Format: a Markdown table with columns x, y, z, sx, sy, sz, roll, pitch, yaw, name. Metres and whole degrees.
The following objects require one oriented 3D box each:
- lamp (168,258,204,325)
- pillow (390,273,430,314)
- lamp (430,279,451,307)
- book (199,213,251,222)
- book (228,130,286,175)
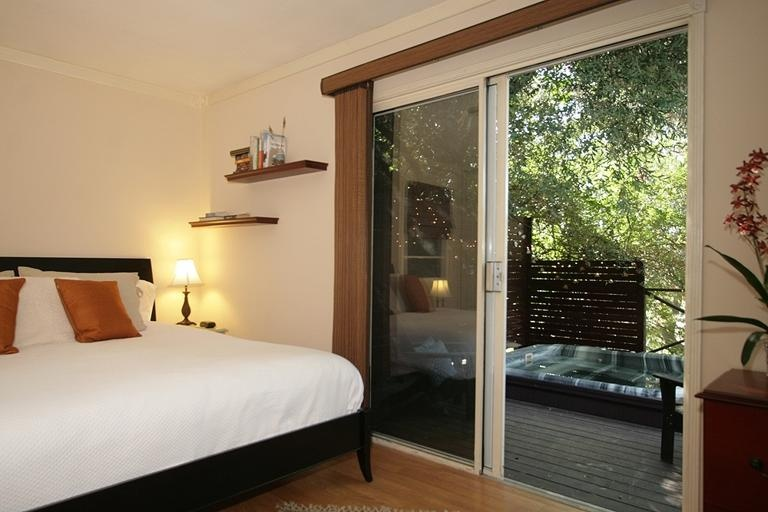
| x | y | z | sx | sy | sz | roll | pitch | yaw | name |
| --- | --- | --- | --- | --- | --- | --- | --- | --- | --- |
| -2.135 | 0.413 | 5.793 | 0.263 | 0.745 | 0.482 | -3 | 8 | -20 | lamp |
| 0.226 | 0.319 | 4.480 | 0.141 | 0.296 | 0.304 | -21 | -24 | 26 | pillow |
| 0.470 | 0.310 | 4.311 | 0.190 | 0.306 | 0.192 | 1 | 0 | 18 | lamp |
| -1.605 | -0.395 | 5.545 | 0.329 | 0.096 | 0.797 | -6 | 10 | -41 | book |
| -1.235 | -1.014 | 5.222 | 0.646 | 0.391 | 0.211 | 5 | 9 | 31 | book |
